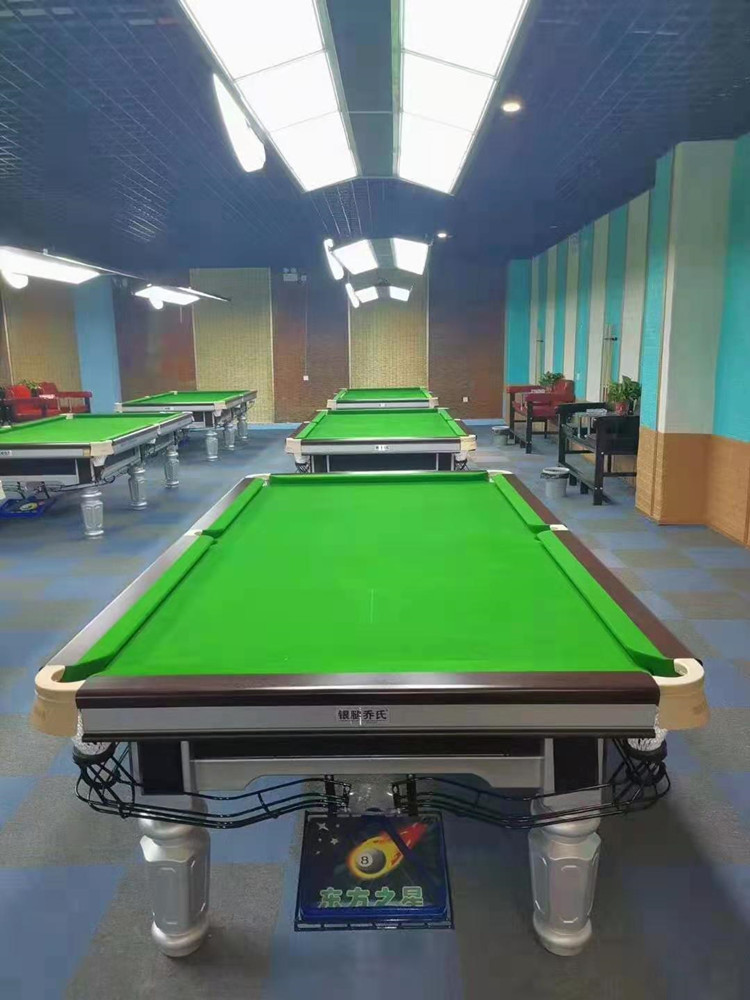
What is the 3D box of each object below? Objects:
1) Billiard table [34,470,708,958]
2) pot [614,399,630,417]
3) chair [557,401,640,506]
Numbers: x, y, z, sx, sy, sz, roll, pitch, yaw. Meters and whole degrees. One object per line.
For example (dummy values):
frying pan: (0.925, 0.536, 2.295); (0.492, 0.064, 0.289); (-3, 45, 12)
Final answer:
Billiard table: (0.019, 0.428, 2.490); (1.371, 0.648, 2.185); (-1, 13, 1)
pot: (2.385, -0.886, 6.931); (0.145, 0.137, 0.144); (-2, 9, 0)
chair: (2.234, -0.453, 7.068); (0.400, 0.676, 1.093); (-1, 8, -2)
